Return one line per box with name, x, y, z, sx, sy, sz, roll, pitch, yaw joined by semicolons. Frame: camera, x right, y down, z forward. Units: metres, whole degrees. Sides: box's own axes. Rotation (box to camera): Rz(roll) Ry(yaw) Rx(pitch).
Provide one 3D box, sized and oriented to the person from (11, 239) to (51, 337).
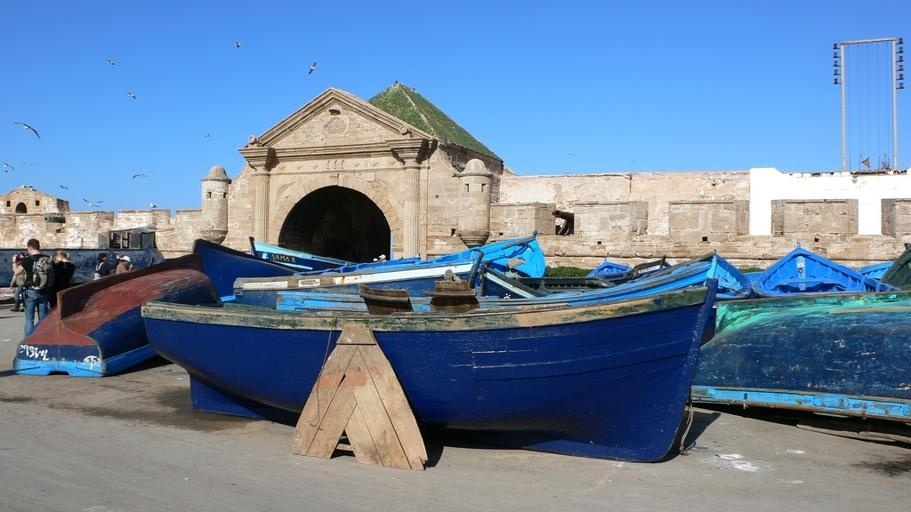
person;-9.107;0.789;18.845;0.914;2.138;0.757;-2;4;-22
